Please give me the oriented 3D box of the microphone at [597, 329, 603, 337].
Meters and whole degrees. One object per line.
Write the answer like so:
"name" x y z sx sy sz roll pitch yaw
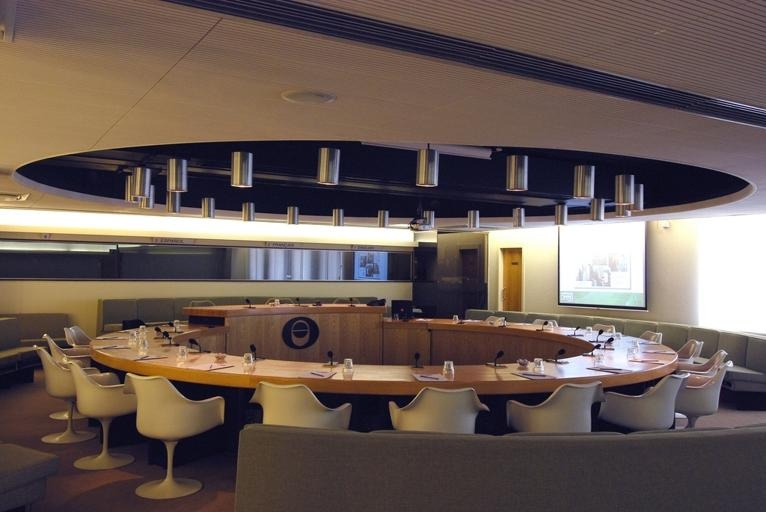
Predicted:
"microphone" 3.131 1.100 8.423 0.031 0.115 0.070 -6 9 -17

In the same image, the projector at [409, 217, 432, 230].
"projector" 0.670 -0.547 10.263 0.269 0.153 0.333 -1 1 30

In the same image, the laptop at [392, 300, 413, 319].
"laptop" 0.354 0.906 10.141 0.466 0.329 0.307 1 -3 2
